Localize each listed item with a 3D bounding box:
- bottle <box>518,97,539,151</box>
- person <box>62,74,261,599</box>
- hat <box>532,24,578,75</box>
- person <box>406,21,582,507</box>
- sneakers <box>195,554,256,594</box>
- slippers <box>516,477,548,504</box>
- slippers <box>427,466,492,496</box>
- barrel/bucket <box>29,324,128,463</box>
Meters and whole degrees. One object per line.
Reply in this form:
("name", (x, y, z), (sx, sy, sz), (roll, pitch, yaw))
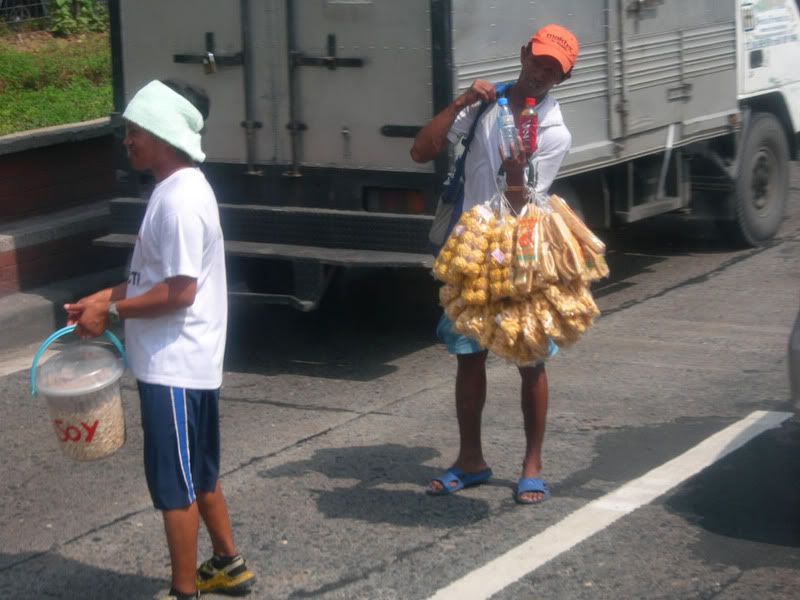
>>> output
("bottle", (0.632, -0.851, 5.079), (0.086, 0.275, 0.164), (1, 16, 6))
("person", (-1.046, 0.231, 4.543), (0.608, 2.310, 0.689), (-5, 17, -12))
("hat", (0.768, -1.297, 5.309), (0.318, 0.197, 0.425), (-3, 9, -7))
("person", (0.462, -0.170, 5.381), (0.840, 2.418, 0.749), (1, 16, 9))
("sneakers", (-0.832, 1.259, 4.809), (0.319, 0.149, 0.133), (6, 19, 8))
("slippers", (0.683, 1.001, 5.360), (0.128, 0.072, 0.192), (-2, -6, 6))
("slippers", (0.315, 0.972, 5.570), (0.370, 0.108, 0.126), (-7, 7, -32))
("barrel/bucket", (-1.454, 0.400, 4.704), (0.454, 0.570, 0.397), (-7, 19, -10))
